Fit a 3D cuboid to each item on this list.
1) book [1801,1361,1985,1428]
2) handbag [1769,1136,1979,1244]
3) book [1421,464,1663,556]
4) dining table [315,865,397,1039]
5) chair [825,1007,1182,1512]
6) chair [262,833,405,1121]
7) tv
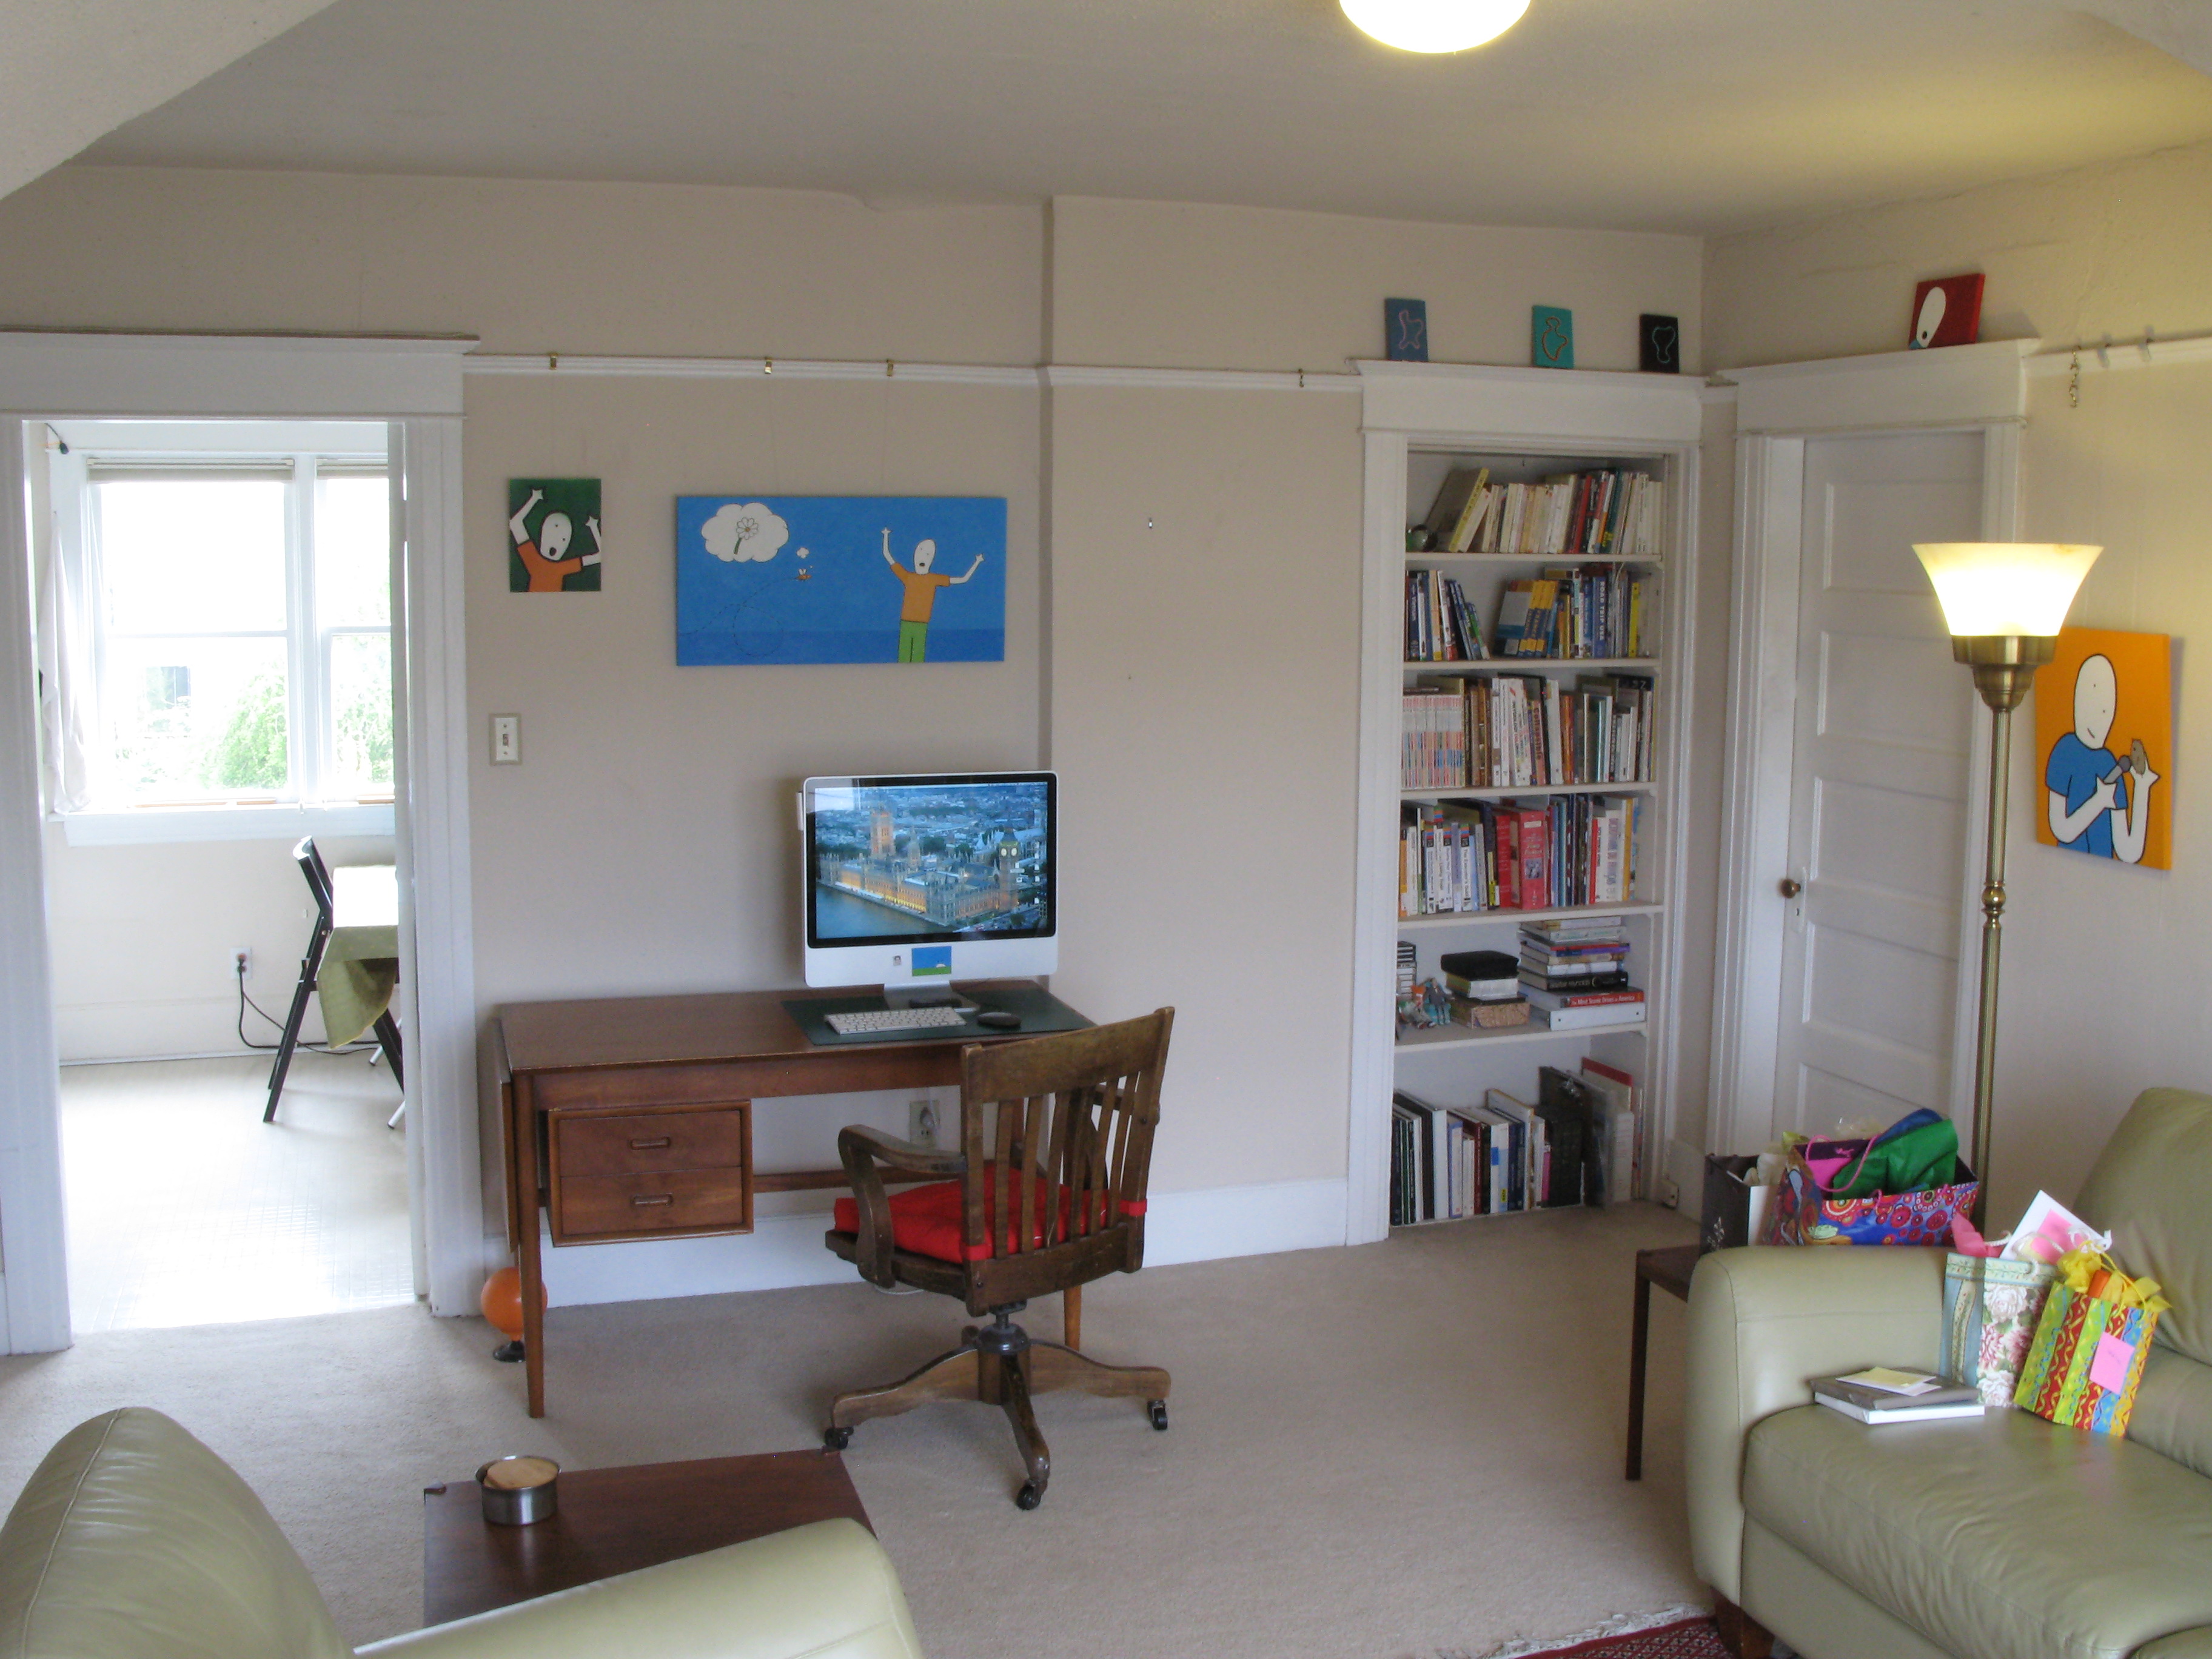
[{"bbox_3d":[1.521,1.093,3.484,0.141,0.043,0.144,-1,3,-17],"label":"book"},{"bbox_3d":[1.635,0.691,3.860,0.398,0.290,0.225,0,18,-3],"label":"handbag"},{"bbox_3d":[1.332,-0.991,5.579,0.765,0.256,0.197,-2,13,-12],"label":"book"},{"bbox_3d":[-2.745,0.445,6.595,0.270,0.545,0.766,-5,13,-22],"label":"dining table"},{"bbox_3d":[-0.269,0.920,4.353,0.841,1.037,0.841,3,8,13],"label":"chair"},{"bbox_3d":[-2.886,0.542,6.676,0.676,0.800,0.833,0,16,-16],"label":"chair"},{"bbox_3d":[-0.473,0.143,4.721,0.611,0.547,0.162,-1,1,-13],"label":"tv"}]
